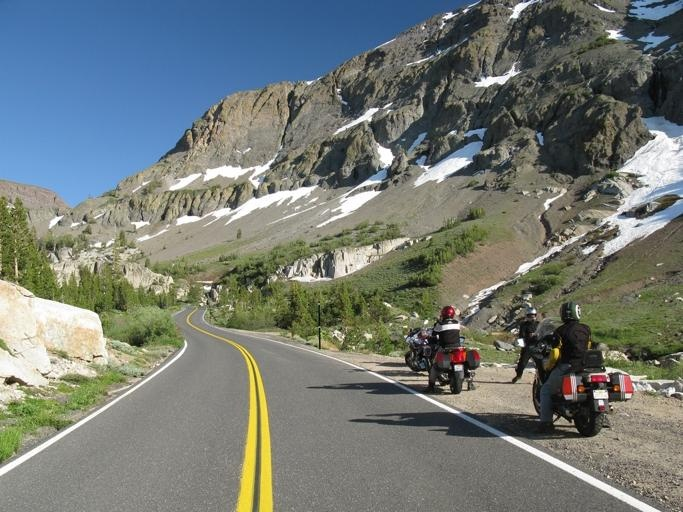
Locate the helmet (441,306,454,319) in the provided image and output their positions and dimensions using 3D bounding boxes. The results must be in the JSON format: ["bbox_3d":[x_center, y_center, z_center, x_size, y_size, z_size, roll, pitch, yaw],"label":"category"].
[{"bbox_3d":[4.311,2.307,26.357,0.413,0.532,0.501,9,39,9],"label":"helmet"}]

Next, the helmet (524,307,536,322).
[{"bbox_3d":[7.767,2.356,26.575,0.378,0.616,0.556,6,-5,2],"label":"helmet"}]
